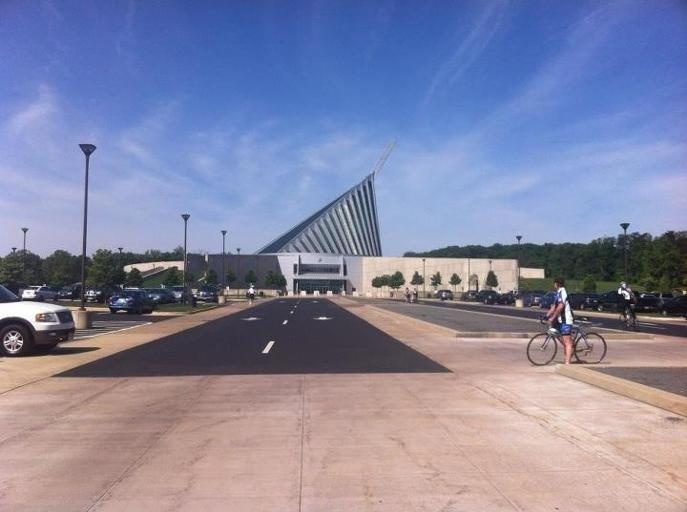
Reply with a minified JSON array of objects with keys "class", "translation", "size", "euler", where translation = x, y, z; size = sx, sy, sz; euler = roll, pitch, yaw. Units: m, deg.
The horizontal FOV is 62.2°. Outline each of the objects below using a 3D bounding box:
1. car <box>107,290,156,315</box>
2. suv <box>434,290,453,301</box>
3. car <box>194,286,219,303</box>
[{"class":"car","translation":[-11.565,2.571,31.641],"size":[1.261,0.964,2.164],"euler":[-2,-12,9]},{"class":"suv","translation":[12.151,4.840,69.374],"size":[1.402,1.141,2.922],"euler":[0,4,-2]},{"class":"car","translation":[-12.703,3.610,53.127],"size":[1.860,1.571,3.072],"euler":[0,-12,-6]}]
